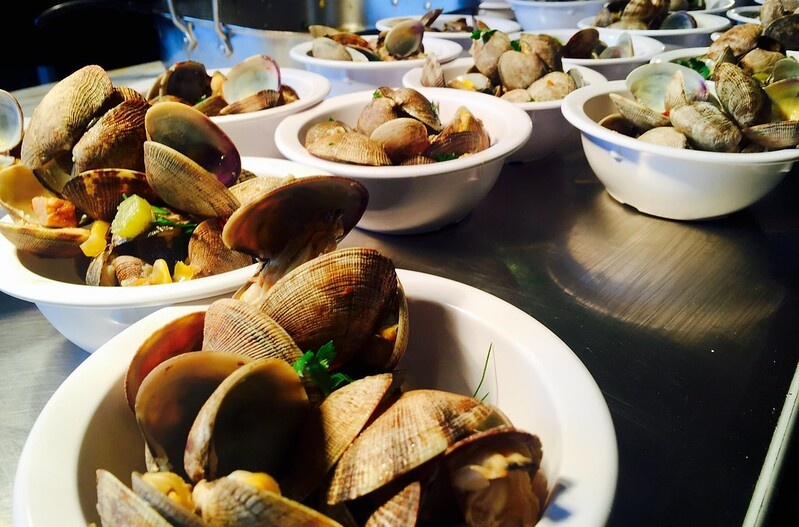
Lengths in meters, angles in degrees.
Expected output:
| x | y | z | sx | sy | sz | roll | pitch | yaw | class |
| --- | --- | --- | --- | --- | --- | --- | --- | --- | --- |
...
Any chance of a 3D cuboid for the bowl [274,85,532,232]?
| x | y | z | sx | sy | sz | roll | pitch | yaw | class |
| --- | --- | --- | --- | --- | --- | --- | --- | --- | --- |
| -0.024 | -0.210 | 1.205 | 0.398 | 0.148 | 0.405 | -3 | 28 | 1 | bowl |
